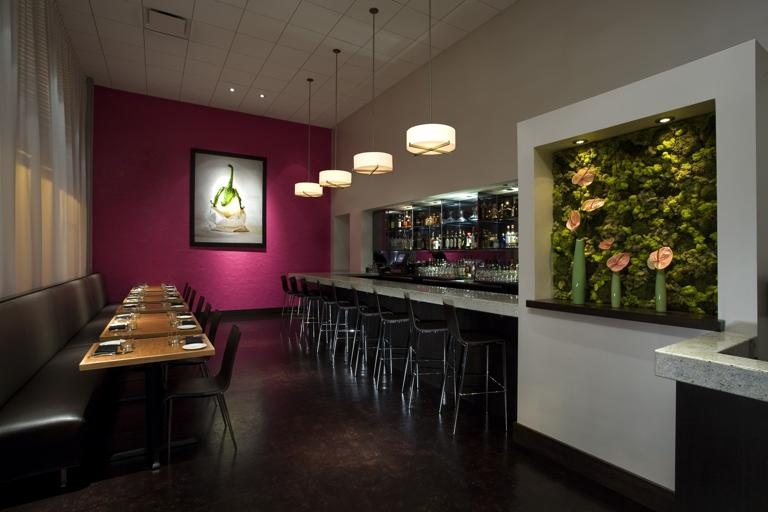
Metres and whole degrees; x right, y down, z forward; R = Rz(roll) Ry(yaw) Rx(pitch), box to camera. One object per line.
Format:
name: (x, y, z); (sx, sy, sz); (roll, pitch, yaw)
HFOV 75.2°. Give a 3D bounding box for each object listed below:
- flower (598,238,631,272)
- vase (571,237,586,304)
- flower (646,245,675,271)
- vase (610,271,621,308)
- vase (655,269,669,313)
flower: (2.227, -0.001, 4.881); (0.132, 0.304, 0.307); (-13, 19, -43)
vase: (1.965, 0.167, 5.027); (0.150, 0.617, 0.327); (5, 15, 19)
flower: (2.539, 0.036, 4.611); (0.201, 0.241, 0.112); (10, 17, 34)
vase: (2.237, 0.330, 4.835); (0.094, 0.317, 0.190); (5, 15, 20)
vase: (2.539, 0.323, 4.579); (0.109, 0.357, 0.185); (5, 15, 19)
